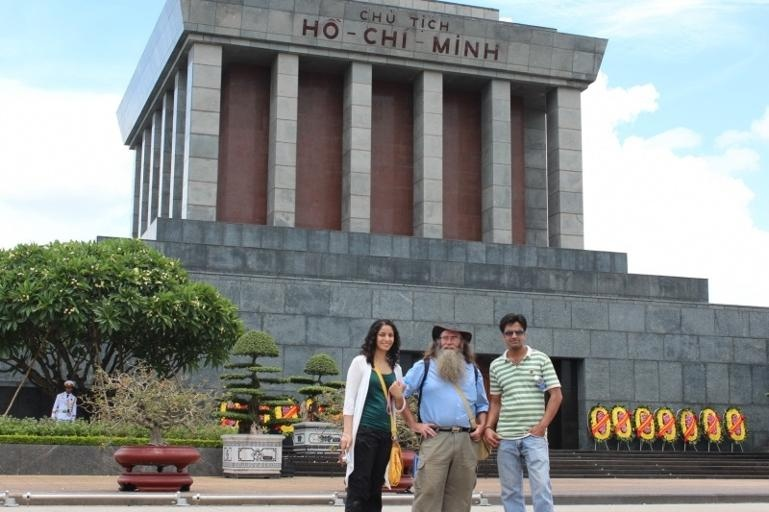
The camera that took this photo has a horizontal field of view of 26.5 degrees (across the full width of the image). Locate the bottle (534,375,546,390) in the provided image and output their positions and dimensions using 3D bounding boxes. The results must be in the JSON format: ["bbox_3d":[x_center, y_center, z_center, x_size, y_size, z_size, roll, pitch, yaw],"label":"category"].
[{"bbox_3d":[3.553,2.895,37.232,0.265,0.374,0.103,3,-9,-23],"label":"bottle"}]

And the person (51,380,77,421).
[{"bbox_3d":[-9.437,4.222,47.813,0.680,1.158,1.335,1,-8,-10],"label":"person"}]

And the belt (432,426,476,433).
[{"bbox_3d":[1.544,3.906,36.821,0.989,0.153,0.126,0,-8,0],"label":"belt"}]
